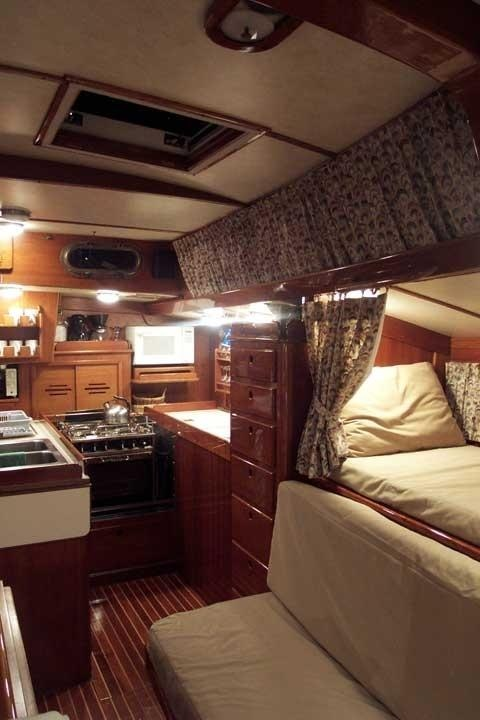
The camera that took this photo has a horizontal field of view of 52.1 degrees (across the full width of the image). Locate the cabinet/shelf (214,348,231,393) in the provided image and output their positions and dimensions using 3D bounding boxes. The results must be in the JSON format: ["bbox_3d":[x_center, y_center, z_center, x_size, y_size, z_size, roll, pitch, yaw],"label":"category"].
[{"bbox_3d":[-0.161,0.103,4.775,0.142,0.460,0.441,1,-1,-10],"label":"cabinet/shelf"}]

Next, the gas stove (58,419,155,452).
[{"bbox_3d":[-1.138,0.642,4.250,0.799,0.282,0.735,-5,-1,-23],"label":"gas stove"}]

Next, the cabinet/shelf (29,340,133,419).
[{"bbox_3d":[-1.549,0.193,4.644,0.658,0.700,0.243,-1,3,-24],"label":"cabinet/shelf"}]

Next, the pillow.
[{"bbox_3d":[0.827,0.281,2.741,0.800,0.518,0.358,-5,0,-24],"label":"pillow"}]

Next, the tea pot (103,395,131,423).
[{"bbox_3d":[-1.131,0.472,4.589,0.170,0.323,0.303,1,0,-28],"label":"tea pot"}]
